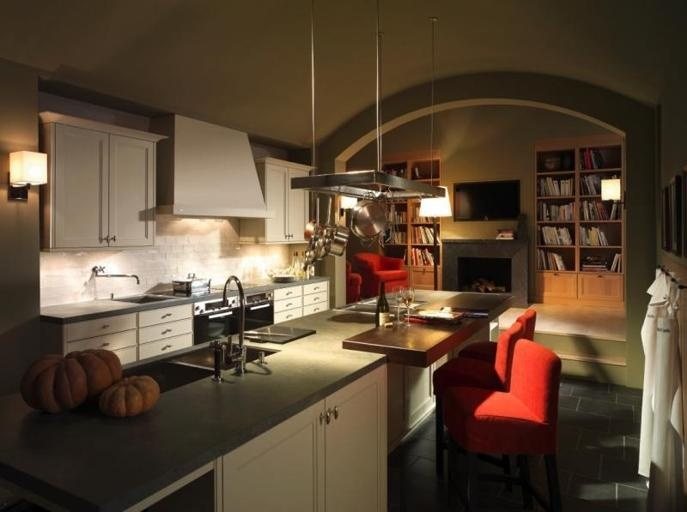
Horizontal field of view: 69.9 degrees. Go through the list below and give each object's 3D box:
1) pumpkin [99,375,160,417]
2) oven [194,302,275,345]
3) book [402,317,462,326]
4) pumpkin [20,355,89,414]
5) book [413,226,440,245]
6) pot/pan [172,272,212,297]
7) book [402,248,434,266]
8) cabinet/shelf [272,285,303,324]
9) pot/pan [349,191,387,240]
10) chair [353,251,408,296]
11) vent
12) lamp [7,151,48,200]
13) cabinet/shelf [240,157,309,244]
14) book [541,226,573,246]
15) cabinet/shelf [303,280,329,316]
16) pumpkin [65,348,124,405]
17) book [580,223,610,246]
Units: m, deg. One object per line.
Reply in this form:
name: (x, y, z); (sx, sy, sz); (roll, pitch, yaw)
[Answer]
pumpkin: (-0.967, 0.644, 2.246); (0.186, 0.119, 0.177); (-9, 6, -35)
oven: (-1.262, 0.651, 5.571); (1.096, 0.410, 0.330); (-7, 9, -44)
book: (0.645, 0.477, 3.554); (0.223, 0.042, 0.139); (-1, -2, 25)
pumpkin: (-1.323, 0.556, 2.281); (0.244, 0.205, 0.257); (4, 9, -21)
book: (1.593, -0.412, 9.464); (0.454, 0.506, 0.336); (-2, -6, 11)
pot/pan: (-1.602, 0.350, 5.220); (0.387, 0.193, 0.233); (5, 12, -19)
book: (1.458, 0.035, 9.579); (0.432, 0.472, 0.340); (1, 1, 19)
cabinet/shelf: (-0.683, 0.584, 6.153); (0.096, 0.405, 0.581); (14, 13, 32)
pot/pan: (0.192, -0.300, 3.604); (0.280, 0.304, 0.057); (11, -4, -33)
chair: (0.759, 0.312, 9.015); (0.779, 0.865, 0.871); (-5, -5, 44)
vent: (-1.502, -0.996, 5.502); (0.379, 0.954, 1.092); (-12, -13, 30)
lamp: (-2.565, -0.640, 3.996); (0.253, 0.417, 0.266); (-1, 15, -39)
cabinet/shelf: (-0.899, -0.680, 6.150); (0.410, 1.162, 1.127); (-2, -3, 29)
book: (3.708, -0.356, 8.640); (0.361, 0.385, 0.112); (6, -15, -34)
cabinet/shelf: (-0.371, 0.537, 6.336); (0.232, 0.429, 0.420); (-1, 1, 35)
pumpkin: (-1.180, 0.546, 2.346); (0.223, 0.232, 0.233); (-1, -2, 34)
book: (4.289, -0.358, 8.433); (0.425, 0.447, 0.315); (0, -4, 9)
